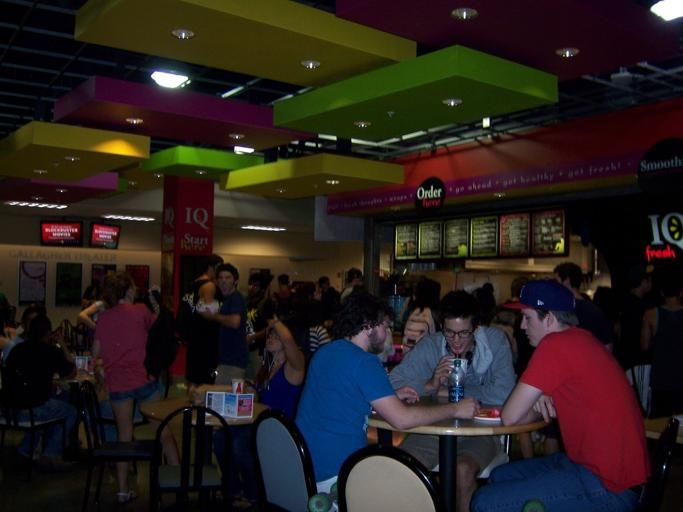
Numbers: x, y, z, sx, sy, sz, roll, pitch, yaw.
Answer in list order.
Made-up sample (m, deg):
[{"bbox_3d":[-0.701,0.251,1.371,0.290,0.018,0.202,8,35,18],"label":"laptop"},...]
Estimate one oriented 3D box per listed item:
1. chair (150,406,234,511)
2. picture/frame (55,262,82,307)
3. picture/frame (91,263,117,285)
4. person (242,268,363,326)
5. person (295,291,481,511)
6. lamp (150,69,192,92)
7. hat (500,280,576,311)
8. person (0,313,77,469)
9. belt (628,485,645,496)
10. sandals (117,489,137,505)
[{"bbox_3d":[-0.990,1.357,3.661,0.471,0.865,0.826,1,-3,-14],"label":"chair"},{"bbox_3d":[-6.855,0.716,13.952,0.619,1.106,0.130,2,-3,-30],"label":"picture/frame"},{"bbox_3d":[-4.762,0.353,10.973,0.498,0.490,0.071,-3,6,-28],"label":"picture/frame"},{"bbox_3d":[-0.694,0.544,8.119,0.617,0.475,1.289,18,17,34],"label":"person"},{"bbox_3d":[0.124,0.596,3.227,0.949,1.583,0.760,-2,8,-25],"label":"person"},{"bbox_3d":[-2.027,-2.075,6.542,0.393,0.187,0.364,1,-4,-21],"label":"lamp"},{"bbox_3d":[1.126,0.230,3.129,0.387,0.197,0.284,0,-5,25],"label":"hat"},{"bbox_3d":[-2.877,1.282,5.327,0.621,1.439,0.666,1,-3,-12],"label":"person"},{"bbox_3d":[1.432,1.134,2.665,0.048,0.057,0.013,-9,4,18],"label":"belt"},{"bbox_3d":[-1.764,1.981,4.573,0.075,0.071,0.163,1,2,10],"label":"sandals"}]
